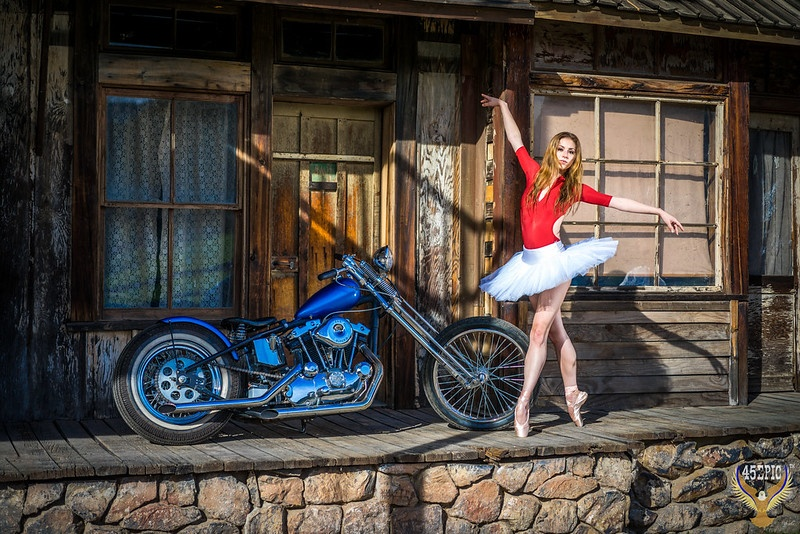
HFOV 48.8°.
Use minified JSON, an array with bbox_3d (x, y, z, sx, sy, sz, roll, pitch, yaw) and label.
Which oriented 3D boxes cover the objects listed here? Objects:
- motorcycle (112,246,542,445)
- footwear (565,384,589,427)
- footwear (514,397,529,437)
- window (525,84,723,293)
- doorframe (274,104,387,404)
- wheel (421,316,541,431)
[{"bbox_3d":[-0.558,0.547,7.926,3.522,2.188,1.512,-1,-2,-10],"label":"motorcycle"},{"bbox_3d":[1.483,1.130,7.419,0.127,0.474,0.164,-15,22,-32],"label":"footwear"},{"bbox_3d":[0.973,1.223,7.115,0.091,0.329,0.099,0,7,14],"label":"footwear"},{"bbox_3d":[1.988,-0.714,8.060,1.620,1.852,0.172,1,0,-9],"label":"window"},{"bbox_3d":[-0.750,-0.457,8.407,1.112,2.363,0.149,-2,34,-11],"label":"doorframe"},{"bbox_3d":[0.696,0.928,7.476,0.770,0.947,0.165,-1,4,-10],"label":"wheel"}]
